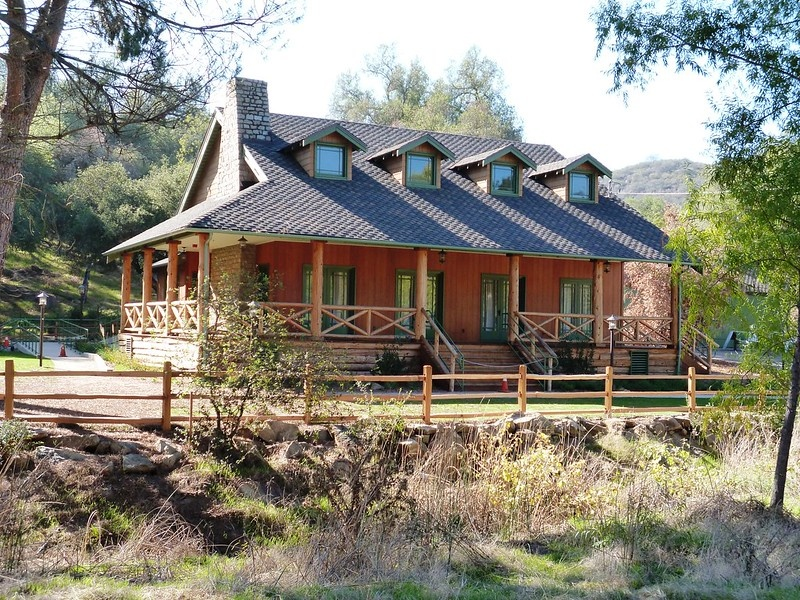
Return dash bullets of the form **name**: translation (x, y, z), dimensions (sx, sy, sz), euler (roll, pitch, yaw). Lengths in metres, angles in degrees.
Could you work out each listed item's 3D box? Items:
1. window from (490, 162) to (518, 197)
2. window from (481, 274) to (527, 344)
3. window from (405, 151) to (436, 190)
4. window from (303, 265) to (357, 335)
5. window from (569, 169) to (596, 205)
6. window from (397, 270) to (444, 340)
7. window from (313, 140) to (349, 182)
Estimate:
- **window**: translation (3.243, -3.755, 28.685), dimensions (0.982, 1.061, 0.089), euler (4, -9, -32)
- **window**: translation (3.085, 0.269, 27.507), dimensions (1.744, 2.783, 0.330), euler (1, 2, -14)
- **window**: translation (0.601, -3.889, 27.529), dimensions (1.065, 1.133, 0.083), euler (0, 1, -30)
- **window**: translation (-1.937, -0.044, 25.050), dimensions (1.667, 2.511, 0.147), euler (2, -4, -32)
- **window**: translation (5.894, -3.662, 29.658), dimensions (1.041, 1.134, 0.084), euler (1, 0, -31)
- **window**: translation (0.551, 0.141, 25.999), dimensions (1.675, 2.336, 0.143), euler (3, -5, -29)
- **window**: translation (-2.012, -4.003, 26.297), dimensions (1.080, 1.148, 0.085), euler (-2, 6, -31)
